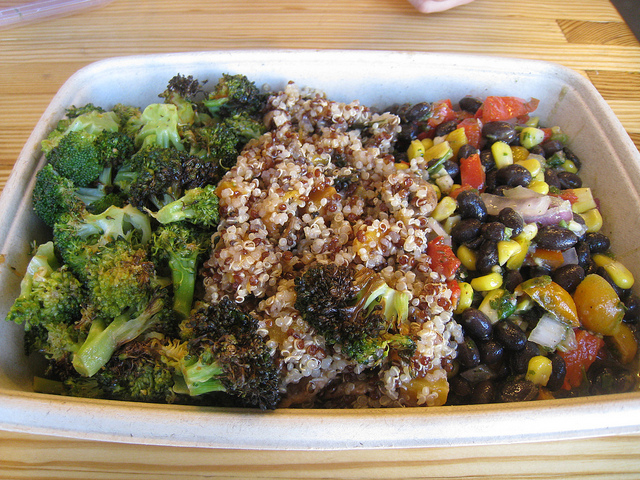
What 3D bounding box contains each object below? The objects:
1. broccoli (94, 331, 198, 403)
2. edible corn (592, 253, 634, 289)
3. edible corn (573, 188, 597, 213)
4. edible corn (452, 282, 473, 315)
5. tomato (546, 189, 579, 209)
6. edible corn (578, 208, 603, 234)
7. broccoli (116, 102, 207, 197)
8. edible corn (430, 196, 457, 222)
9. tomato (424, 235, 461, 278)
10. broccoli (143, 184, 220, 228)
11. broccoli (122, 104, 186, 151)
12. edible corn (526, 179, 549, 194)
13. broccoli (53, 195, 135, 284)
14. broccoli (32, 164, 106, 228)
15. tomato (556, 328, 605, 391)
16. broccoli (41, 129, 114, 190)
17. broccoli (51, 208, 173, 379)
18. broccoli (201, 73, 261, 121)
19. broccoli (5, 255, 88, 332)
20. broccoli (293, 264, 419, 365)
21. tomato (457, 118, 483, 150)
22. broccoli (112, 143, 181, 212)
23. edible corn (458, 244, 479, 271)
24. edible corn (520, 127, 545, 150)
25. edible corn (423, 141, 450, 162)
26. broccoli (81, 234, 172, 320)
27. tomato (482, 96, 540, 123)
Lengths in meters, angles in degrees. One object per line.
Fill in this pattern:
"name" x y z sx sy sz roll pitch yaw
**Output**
"broccoli" -0.637 0.504 2.176 0.275 0.145 0.335 12 75 28
"edible corn" 1.189 0.124 2.398 0.095 0.049 0.167 -26 62 -35
"edible corn" 1.133 -0.170 2.539 0.104 0.027 0.094 -5 78 -7
"edible corn" 0.566 0.234 2.343 0.085 0.062 0.107 -5 75 10
"tomato" 1.031 -0.182 2.529 0.093 0.034 0.093 11 30 25
"edible corn" 1.152 -0.074 2.496 0.099 0.036 0.095 -11 78 16
"broccoli" -0.634 -0.347 2.338 0.417 0.171 0.318 10 80 31
"edible corn" 0.492 -0.121 2.372 0.063 0.038 0.113 37 79 16
"tomato" 0.468 0.071 2.288 0.145 0.054 0.146 -39 67 19
"broccoli" -0.530 -0.108 2.278 0.258 0.169 0.126 -15 72 1
"broccoli" -0.688 -0.427 2.435 0.213 0.075 0.226 -38 70 3
"edible corn" 0.898 -0.227 2.451 0.057 0.040 0.071 -35 36 -26
"broccoli" -0.839 -0.044 2.264 0.243 0.291 0.124 0 68 -5
"broccoli" -0.971 -0.169 2.373 0.254 0.140 0.212 -8 84 -10
"tomato" 1.025 0.470 2.389 0.157 0.060 0.245 27 89 -2
"broccoli" -0.924 -0.326 2.338 0.238 0.078 0.233 26 67 9
"broccoli" -0.782 0.207 2.319 0.496 0.309 0.607 0 86 -4
"broccoli" -0.414 -0.618 2.518 0.161 0.169 0.184 -4 56 25
"broccoli" -1.004 0.206 2.183 0.275 0.146 0.257 -3 82 -2
"broccoli" 0.112 0.296 2.227 0.444 0.168 0.316 35 67 -12
"tomato" 0.661 -0.456 2.615 0.116 0.046 0.121 21 89 13
"broccoli" -0.659 -0.242 2.306 0.286 0.156 0.246 -1 72 9
"edible corn" 0.587 0.073 2.357 0.072 0.052 0.090 -27 83 3
"edible corn" 0.932 -0.444 2.588 0.079 0.103 0.060 0 101 14
"edible corn" 0.485 -0.368 2.491 0.112 0.027 0.073 -33 36 6
"broccoli" -0.693 0.168 2.240 0.264 0.123 0.267 29 65 26
"tomato" 0.846 -0.582 2.642 0.210 0.065 0.131 -4 49 -7
